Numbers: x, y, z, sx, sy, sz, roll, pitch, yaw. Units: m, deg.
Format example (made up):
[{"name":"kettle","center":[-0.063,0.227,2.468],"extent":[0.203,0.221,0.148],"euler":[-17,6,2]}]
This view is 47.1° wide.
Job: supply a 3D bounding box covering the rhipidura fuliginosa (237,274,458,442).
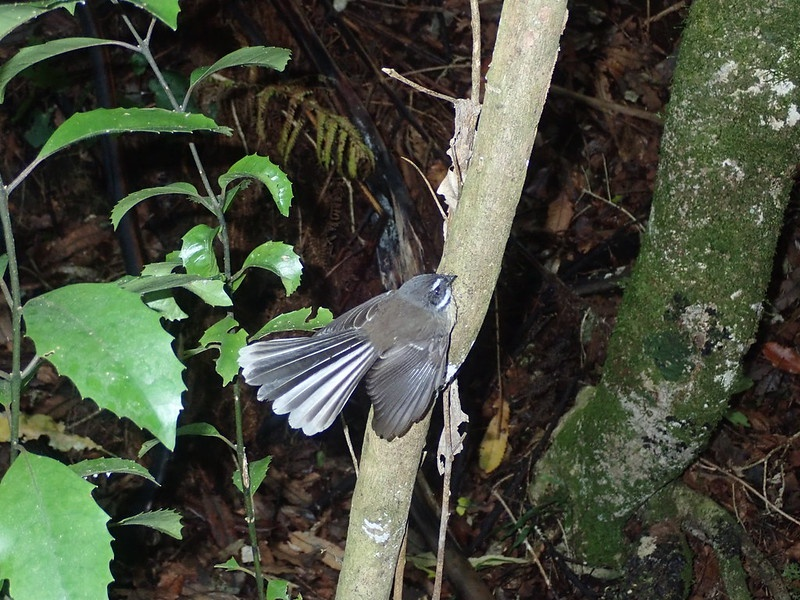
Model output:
[{"name":"rhipidura fuliginosa","center":[-0.218,0.359,4.560],"extent":[0.968,0.440,0.757],"euler":[-28,57,-16]}]
